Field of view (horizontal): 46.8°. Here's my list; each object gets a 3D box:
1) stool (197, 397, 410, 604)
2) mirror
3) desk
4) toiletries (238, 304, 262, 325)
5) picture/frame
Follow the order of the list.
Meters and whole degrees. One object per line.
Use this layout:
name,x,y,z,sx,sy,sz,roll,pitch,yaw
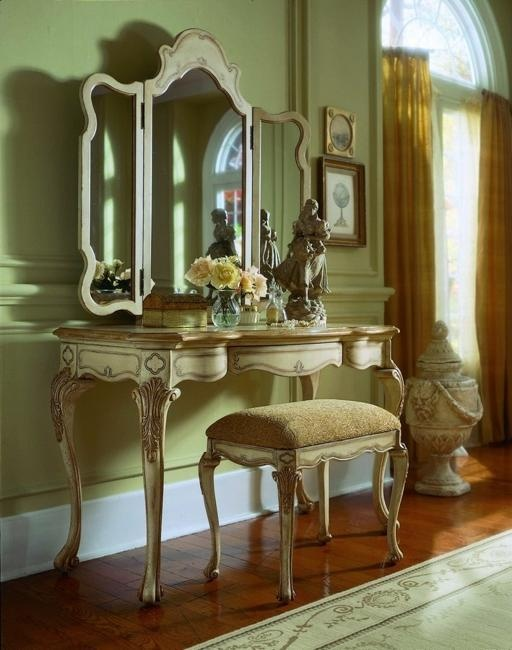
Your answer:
stool,0.171,0.542,1.958,0.393,0.559,0.614,-1,-1,45
mirror,-0.256,-0.543,2.252,0.029,1.231,1.322,4,5,32
desk,0.030,0.425,2.113,0.840,0.769,1.248,-1,-3,42
toiletries,-0.013,-0.044,2.274,0.059,0.059,0.084,0,0,-3
picture/frame,0.450,-0.633,3.074,0.067,0.456,0.372,3,8,43
